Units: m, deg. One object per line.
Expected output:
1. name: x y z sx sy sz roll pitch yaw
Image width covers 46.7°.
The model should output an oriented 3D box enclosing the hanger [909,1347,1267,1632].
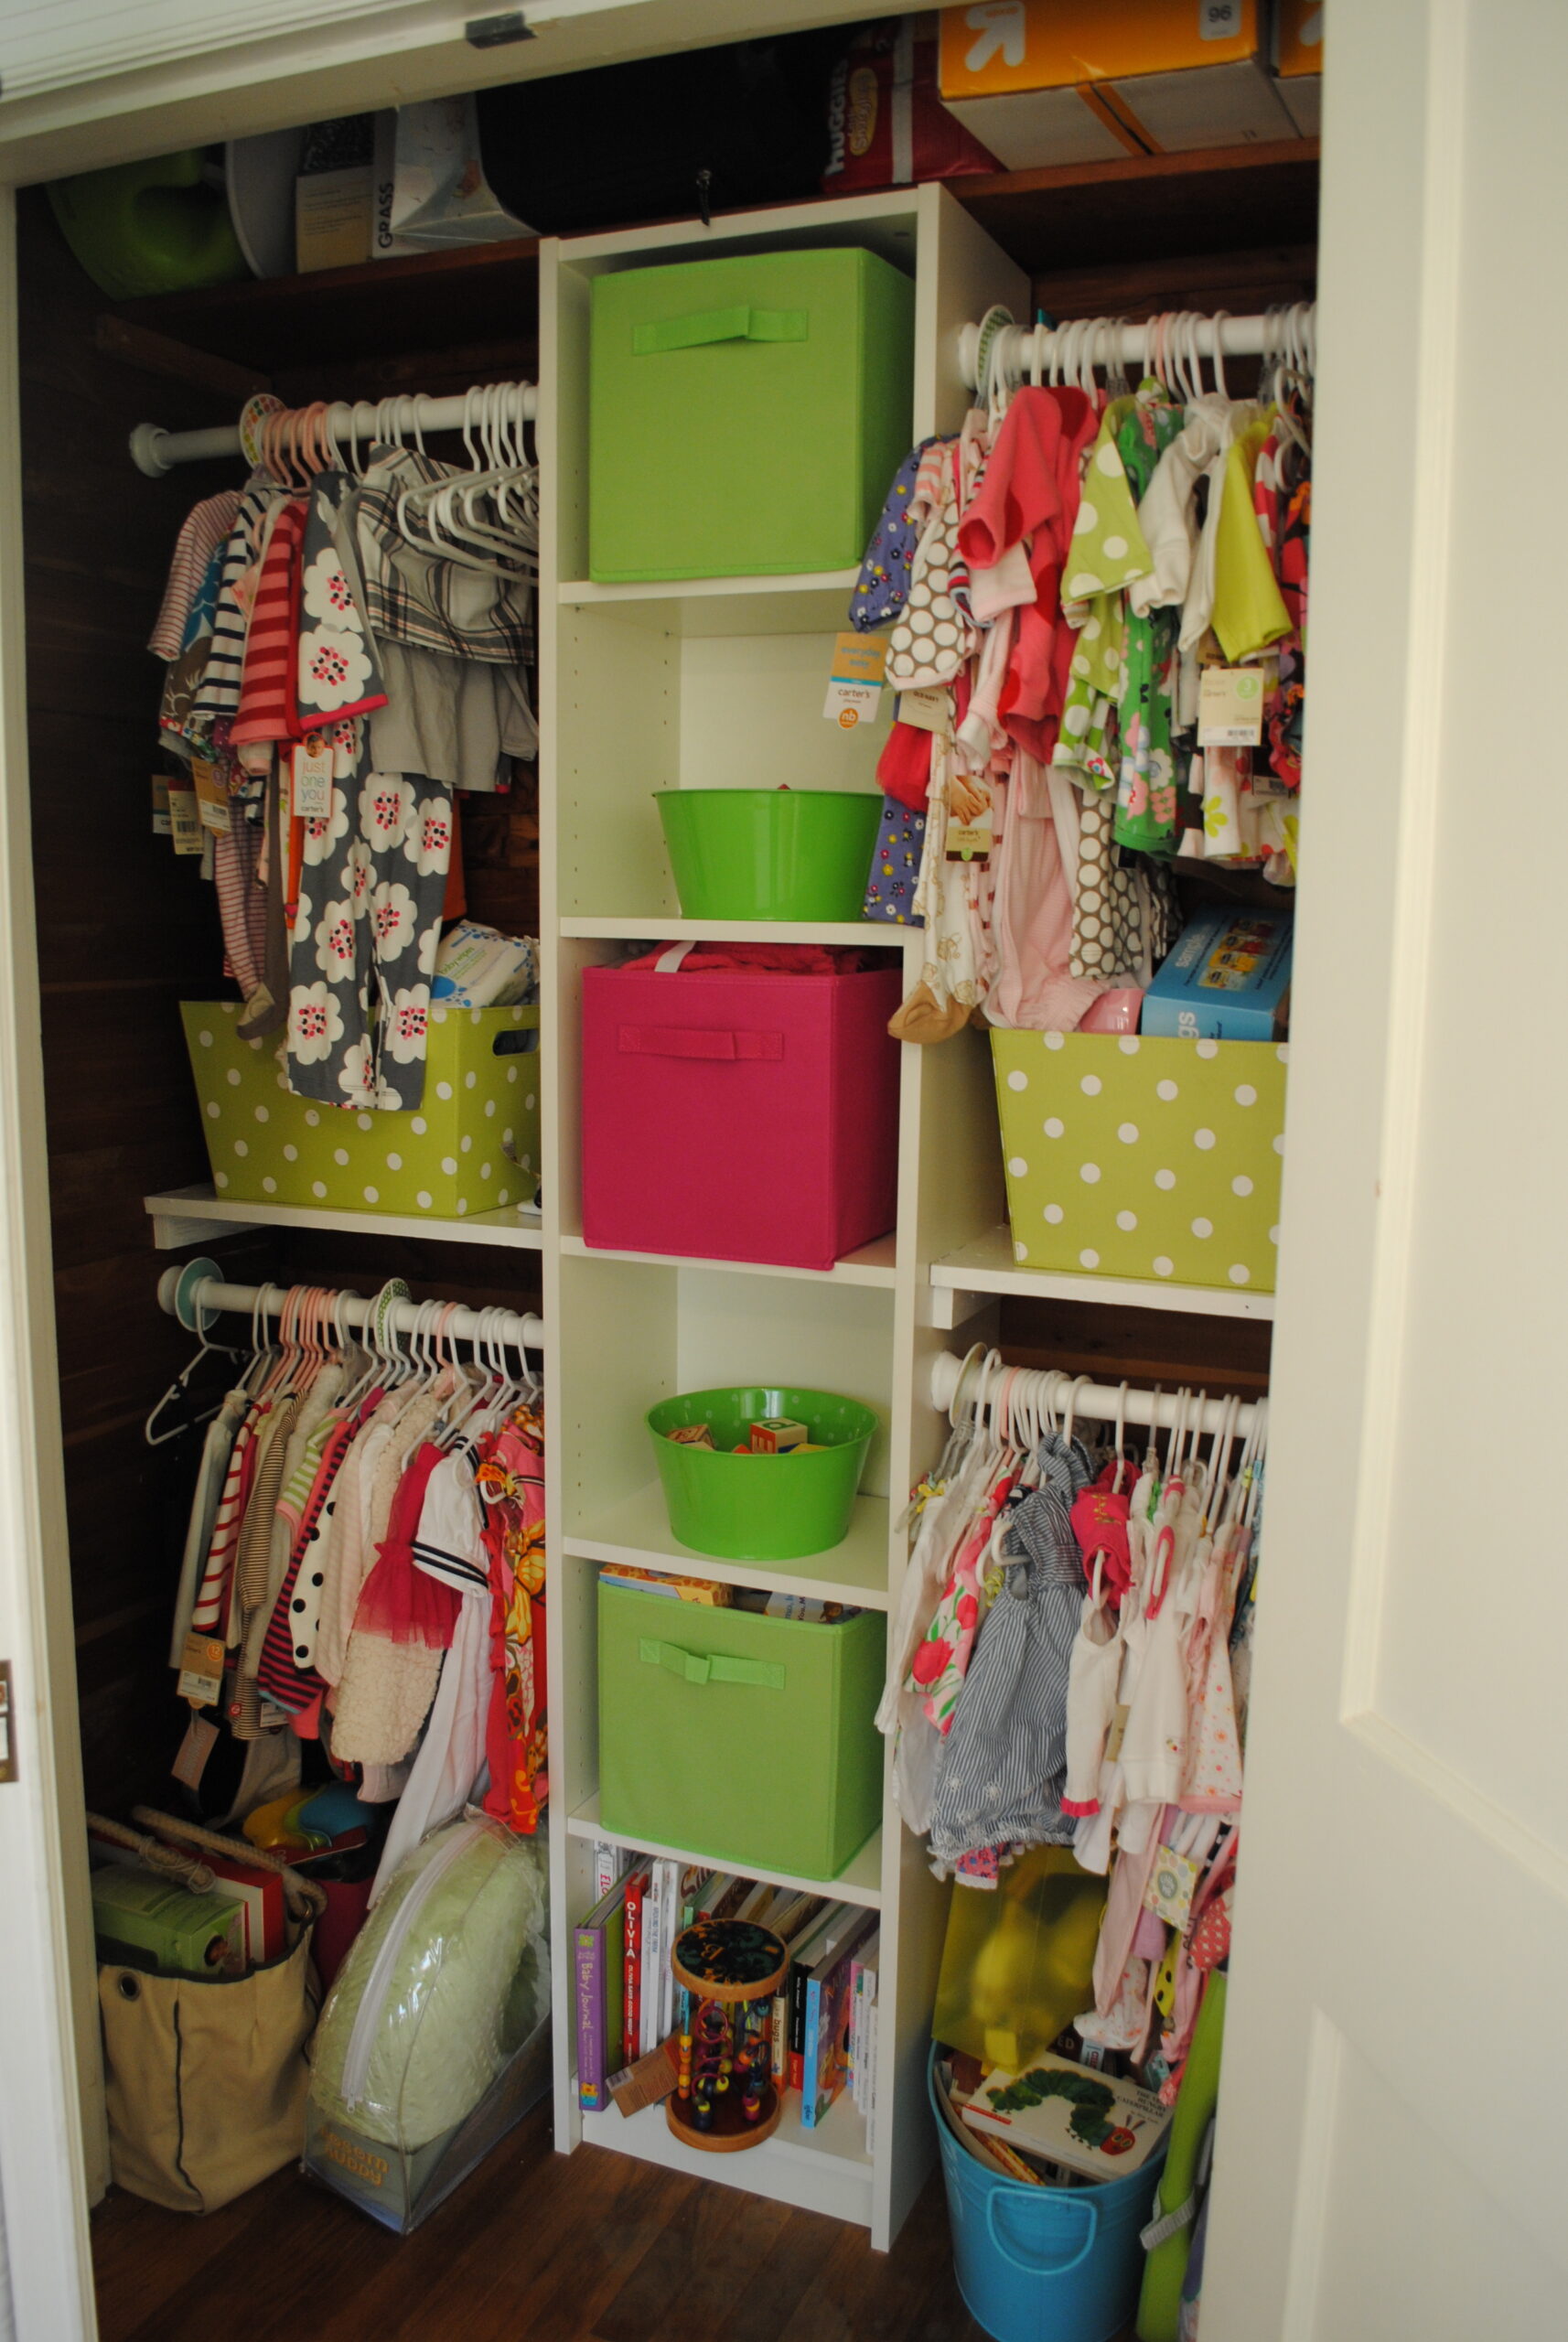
1. hanger: 0.359 0.277 1.997 0.353 0.154 0.364 3 5 21

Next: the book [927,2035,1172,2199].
1. book: 0.287 0.992 1.907 0.225 0.031 0.182 3 5 28

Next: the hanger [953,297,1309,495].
1. hanger: 0.351 -0.735 1.764 0.249 0.108 0.188 7 24 18

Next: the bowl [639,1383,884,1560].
1. bowl: -0.023 0.352 2.144 0.274 0.141 0.348 1 5 2

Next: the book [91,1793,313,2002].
1. book: -0.714 0.854 2.150 0.199 0.095 0.153 5 3 30

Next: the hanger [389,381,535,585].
1. hanger: -0.370 -0.786 2.101 0.197 0.214 0.061 -1 8 -28

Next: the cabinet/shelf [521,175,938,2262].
1. cabinet/shelf: -0.036 0.091 2.070 0.475 2.148 0.482 1 4 10

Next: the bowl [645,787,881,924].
1. bowl: -0.017 -0.325 1.906 0.163 0.084 0.163 1 7 0
